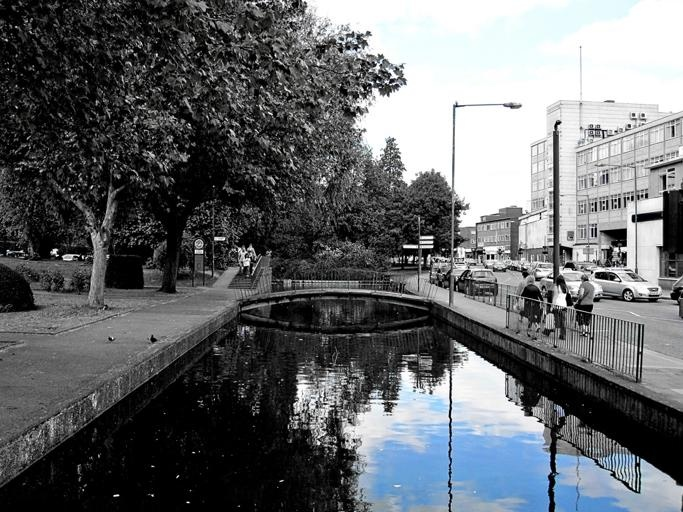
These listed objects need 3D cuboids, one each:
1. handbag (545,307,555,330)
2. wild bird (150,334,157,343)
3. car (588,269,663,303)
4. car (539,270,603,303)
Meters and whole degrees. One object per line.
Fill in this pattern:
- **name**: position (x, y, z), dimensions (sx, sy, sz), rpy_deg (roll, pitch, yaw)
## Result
- **handbag**: position (5.563, 1.688, 19.687), dimensions (0.080, 0.481, 0.304), rpy_deg (4, -4, -4)
- **wild bird**: position (-4.786, 2.075, 18.656), dimensions (0.137, 0.214, 0.279), rpy_deg (-2, -11, 3)
- **car**: position (15.016, 1.533, 38.708), dimensions (1.500, 1.458, 3.574), rpy_deg (1, -3, -13)
- **car**: position (8.766, 1.139, 27.966), dimensions (1.231, 1.166, 2.917), rpy_deg (0, -3, -9)
